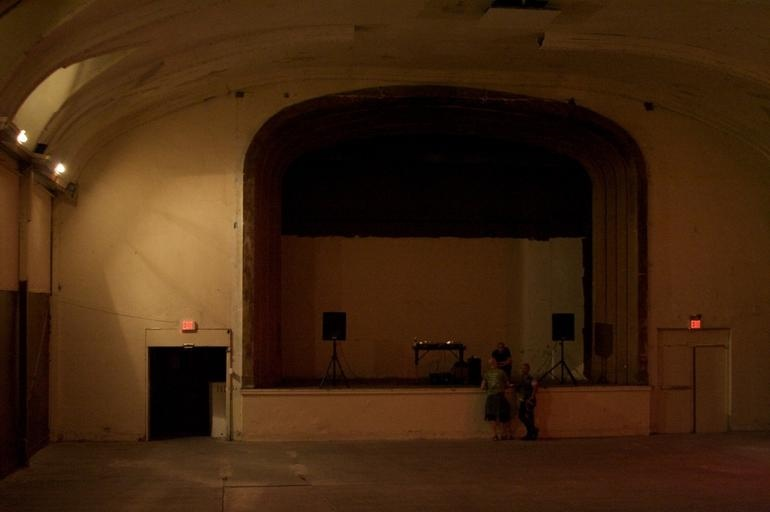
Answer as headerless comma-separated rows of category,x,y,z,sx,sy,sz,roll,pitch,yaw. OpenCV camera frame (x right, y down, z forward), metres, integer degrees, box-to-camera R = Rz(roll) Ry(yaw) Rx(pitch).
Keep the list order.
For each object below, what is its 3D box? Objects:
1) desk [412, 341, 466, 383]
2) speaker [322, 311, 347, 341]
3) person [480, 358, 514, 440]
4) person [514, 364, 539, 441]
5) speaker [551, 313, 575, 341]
desk,1.370,2.689,20.771,1.375,1.247,0.813,-1,-7,-1
speaker,-1.170,1.652,19.467,0.633,0.671,0.609,0,-14,-2
person,2.535,3.186,18.600,0.716,1.736,0.649,1,15,2
person,3.237,3.223,18.607,0.509,1.707,0.590,0,15,-2
speaker,4.320,1.712,19.907,0.551,0.682,0.340,-1,15,-6
